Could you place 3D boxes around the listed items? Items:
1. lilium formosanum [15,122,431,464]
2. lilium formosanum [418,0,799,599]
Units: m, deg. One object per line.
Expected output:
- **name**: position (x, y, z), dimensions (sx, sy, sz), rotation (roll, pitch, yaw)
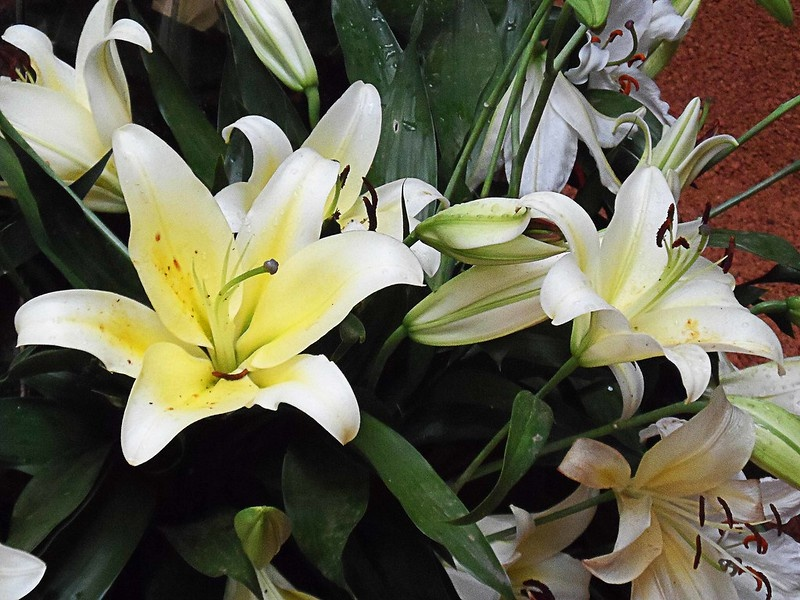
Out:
- **lilium formosanum**: position (-0.121, 0.045, 0.538), dimensions (0.203, 0.121, 0.284), rotation (1, 68, -6)
- **lilium formosanum**: position (0.189, 0.024, 0.848), dimensions (0.364, 0.589, 0.382), rotation (0, 3, 39)
